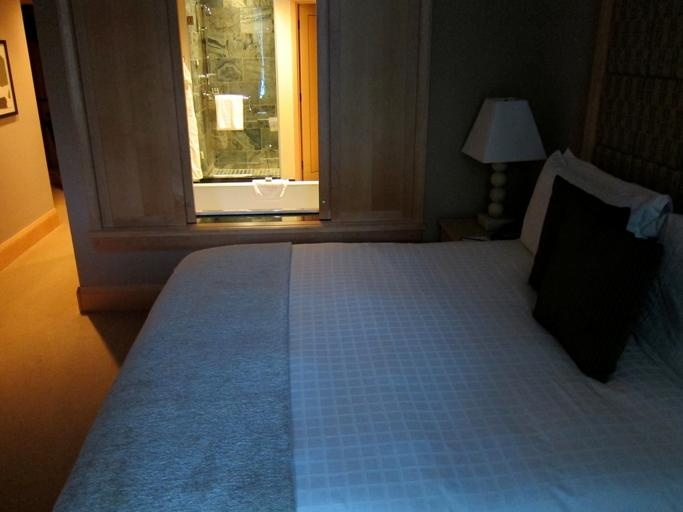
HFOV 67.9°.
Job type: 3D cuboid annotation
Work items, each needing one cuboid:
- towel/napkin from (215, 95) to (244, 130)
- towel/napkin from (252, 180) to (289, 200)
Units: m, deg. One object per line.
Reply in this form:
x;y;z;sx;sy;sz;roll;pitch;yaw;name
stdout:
-1.160;-1.482;5.222;0.295;0.317;0.101;0;15;4;towel/napkin
-0.690;-0.640;4.987;0.227;0.085;0.228;3;43;1;towel/napkin
